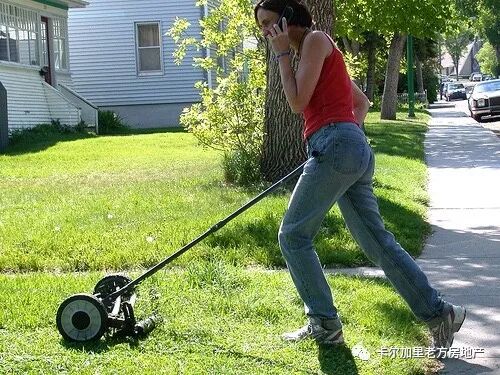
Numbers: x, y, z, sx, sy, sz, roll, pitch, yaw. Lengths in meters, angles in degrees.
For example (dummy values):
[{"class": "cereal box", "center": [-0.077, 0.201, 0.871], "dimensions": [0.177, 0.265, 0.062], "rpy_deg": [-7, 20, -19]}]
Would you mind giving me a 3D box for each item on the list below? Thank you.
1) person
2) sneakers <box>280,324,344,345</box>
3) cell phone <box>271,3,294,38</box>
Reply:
[{"class": "person", "center": [0.721, -0.069, 4.134], "dimensions": [1.378, 2.614, 0.542], "rpy_deg": [0, 11, 0]}, {"class": "sneakers", "center": [0.463, 1.070, 4.151], "dimensions": [0.453, 0.222, 0.179], "rpy_deg": [3, -4, 10]}, {"class": "cell phone", "center": [0.254, -1.243, 4.005], "dimensions": [0.117, 0.193, 0.064], "rpy_deg": [0, 11, 2]}]
